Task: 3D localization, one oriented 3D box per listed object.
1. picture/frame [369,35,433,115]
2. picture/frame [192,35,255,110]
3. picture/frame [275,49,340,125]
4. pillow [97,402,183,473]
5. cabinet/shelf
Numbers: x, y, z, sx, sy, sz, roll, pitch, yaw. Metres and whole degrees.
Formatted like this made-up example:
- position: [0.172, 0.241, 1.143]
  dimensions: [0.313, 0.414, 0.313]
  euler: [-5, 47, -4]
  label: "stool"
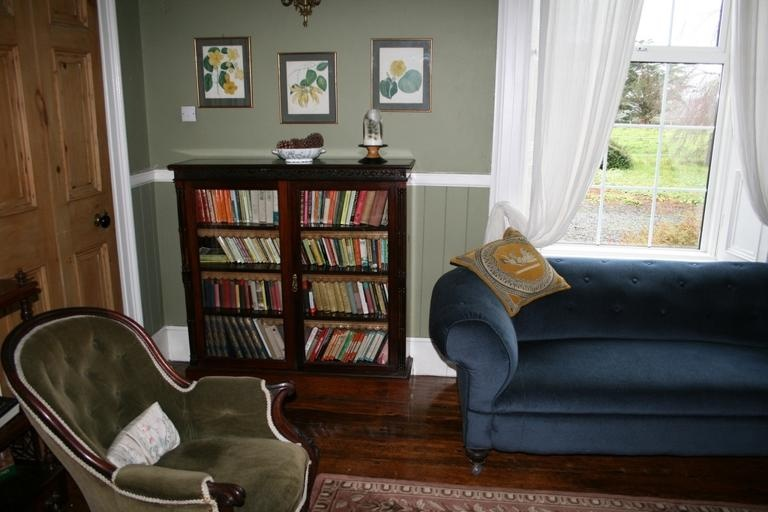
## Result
- position: [0.125, -1.305, 3.975]
  dimensions: [0.587, 0.648, 0.028]
  euler: [0, 13, 1]
  label: "picture/frame"
- position: [-1.144, -1.350, 4.063]
  dimensions: [0.506, 0.580, 0.022]
  euler: [2, 16, 8]
  label: "picture/frame"
- position: [-0.536, -1.238, 4.043]
  dimensions: [0.536, 0.569, 0.022]
  euler: [0, 14, 5]
  label: "picture/frame"
- position: [-1.170, 0.892, 2.740]
  dimensions: [0.131, 0.225, 0.359]
  euler: [-39, 9, 35]
  label: "pillow"
- position: [-0.634, 0.127, 4.001]
  dimensions: [1.562, 1.487, 0.525]
  euler: [-1, 7, -4]
  label: "cabinet/shelf"
